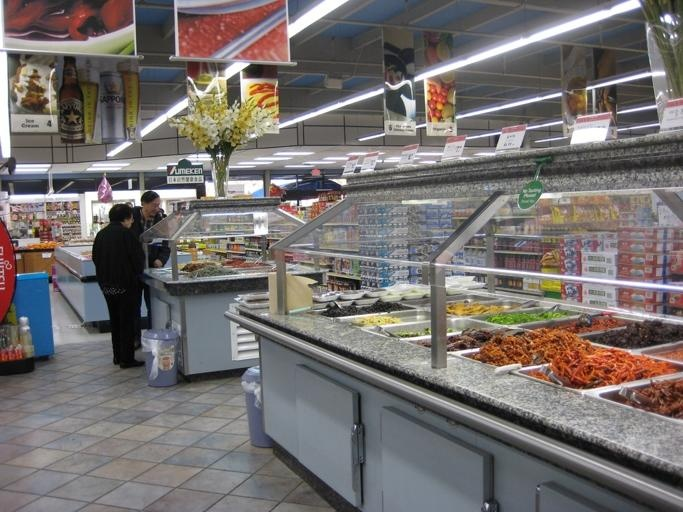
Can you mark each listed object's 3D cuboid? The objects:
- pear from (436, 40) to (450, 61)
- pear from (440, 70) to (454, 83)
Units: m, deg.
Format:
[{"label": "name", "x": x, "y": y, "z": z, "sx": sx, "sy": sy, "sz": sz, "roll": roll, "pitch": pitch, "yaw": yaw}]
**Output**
[{"label": "pear", "x": 1.798, "y": -3.546, "z": 9.382, "sx": 0.298, "sy": 0.345, "sz": 0.096, "roll": -8, "pitch": 10, "yaw": -21}, {"label": "pear", "x": 1.878, "y": -3.186, "z": 9.748, "sx": 0.293, "sy": 0.145, "sz": 0.241, "roll": 1, "pitch": -7, "yaw": -11}]
